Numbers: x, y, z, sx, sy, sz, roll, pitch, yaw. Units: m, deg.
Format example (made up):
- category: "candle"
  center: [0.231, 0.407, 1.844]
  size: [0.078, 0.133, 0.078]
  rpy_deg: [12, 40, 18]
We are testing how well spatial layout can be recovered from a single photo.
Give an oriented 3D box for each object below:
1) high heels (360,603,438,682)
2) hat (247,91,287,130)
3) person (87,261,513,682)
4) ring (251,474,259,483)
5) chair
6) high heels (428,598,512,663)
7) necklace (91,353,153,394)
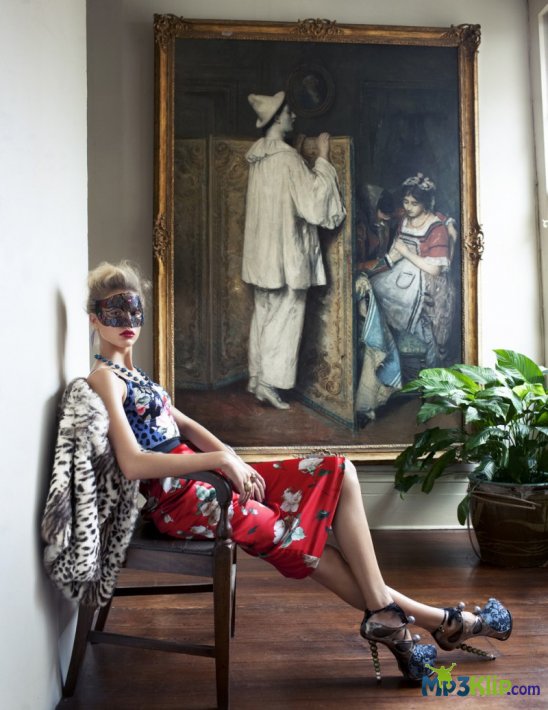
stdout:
- category: "high heels"
  center: [0.356, 0.796, 2.246]
  size: [0.252, 0.236, 0.159]
  rpy_deg: [-1, 4, -5]
- category: "hat"
  center: [-0.033, -1.165, 3.782]
  size: [0.064, 0.150, 0.162]
  rpy_deg: [15, -21, -11]
- category: "person"
  center: [0.098, 0.323, 2.348]
  size: [1.185, 1.197, 0.396]
  rpy_deg: [-3, 5, -8]
- category: "ring"
  center: [-0.056, 0.360, 2.313]
  size: [0.007, 0.024, 0.025]
  rpy_deg: [-19, 0, 38]
- category: "chair"
  center: [-0.219, 0.659, 2.556]
  size: [0.566, 0.941, 0.566]
  rpy_deg: [1, -4, 6]
- category: "high heels"
  center: [0.577, 0.804, 2.320]
  size: [0.305, 0.130, 0.137]
  rpy_deg: [9, -14, -31]
- category: "necklace"
  center: [-0.437, 0.059, 2.321]
  size: [0.135, 0.031, 0.106]
  rpy_deg: [30, 6, 5]
